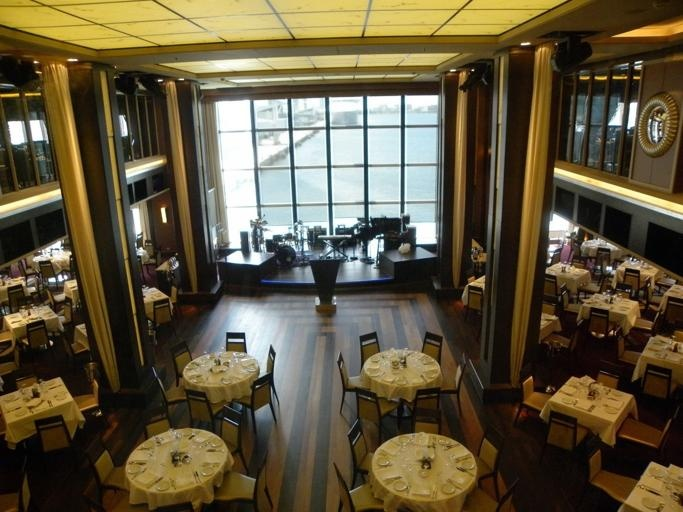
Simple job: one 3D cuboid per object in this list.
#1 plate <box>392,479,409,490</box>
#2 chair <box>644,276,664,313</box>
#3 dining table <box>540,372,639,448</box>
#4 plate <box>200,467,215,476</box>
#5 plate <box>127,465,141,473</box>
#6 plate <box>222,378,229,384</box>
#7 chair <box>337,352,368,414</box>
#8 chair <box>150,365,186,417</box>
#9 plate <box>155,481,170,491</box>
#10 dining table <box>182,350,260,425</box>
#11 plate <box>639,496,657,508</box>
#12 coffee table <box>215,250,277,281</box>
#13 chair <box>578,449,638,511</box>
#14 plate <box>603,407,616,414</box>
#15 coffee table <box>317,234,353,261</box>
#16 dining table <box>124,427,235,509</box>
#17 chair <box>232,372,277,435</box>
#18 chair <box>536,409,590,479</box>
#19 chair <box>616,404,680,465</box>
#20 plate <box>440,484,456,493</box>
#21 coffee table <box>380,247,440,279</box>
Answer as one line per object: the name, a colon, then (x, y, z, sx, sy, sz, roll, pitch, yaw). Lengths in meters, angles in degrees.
plate: (0.773, 3.054, 6.594, 0.189, 0.047, 0.165, -2, 13, 3)
chair: (8.010, 1.004, 12.774, 0.553, 1.058, 0.568, 4, 19, 29)
dining table: (3.966, 2.622, 8.069, 1.092, 0.440, 1.115, 8, 28, 38)
plate: (-1.870, 2.977, 6.856, 0.167, 0.039, 0.168, -4, 13, -9)
plate: (-2.898, 2.955, 6.889, 0.216, 0.044, 0.153, -2, 13, 0)
plate: (-2.038, 2.178, 8.644, 0.129, 0.046, 0.138, -4, 13, -8)
chair: (0.137, 2.406, 9.237, 0.653, 0.878, 0.678, -7, -18, 44)
chair: (-3.236, 2.525, 9.191, 0.534, 0.792, 0.458, -14, 32, -23)
plate: (-2.405, 3.069, 6.643, 0.182, 0.044, 0.174, 8, 17, 39)
dining table: (-2.190, 2.385, 9.071, 1.003, 0.535, 0.982, 0, 20, -9)
plate: (3.936, 3.141, 6.330, 0.203, 0.048, 0.166, 0, 13, 8)
coffee table: (-2.945, 0.329, 15.295, 1.393, 0.765, 1.274, 2, 14, 17)
chair: (3.834, 3.263, 7.165, 0.489, 0.847, 0.567, -24, 32, -33)
plate: (4.213, 2.415, 7.783, 0.176, 0.038, 0.159, 2, 14, 19)
coffee table: (-0.205, -0.310, 16.382, 1.369, 0.958, 0.803, -1, 15, -2)
dining table: (-2.316, 2.976, 7.034, 1.438, 0.681, 1.116, -5, 13, -9)
chair: (-1.471, 2.483, 8.874, 0.567, 0.980, 0.845, 9, 17, 39)
chair: (3.517, 2.807, 7.857, 0.633, 0.992, 0.696, 5, 15, 28)
chair: (4.919, 2.915, 7.989, 0.568, 0.835, 0.511, 20, 35, 32)
plate: (1.395, 3.064, 6.534, 0.176, 0.044, 0.145, 0, 13, 8)
coffee table: (1.985, 0.264, 14.889, 1.474, 0.802, 1.009, -5, 13, -10)
